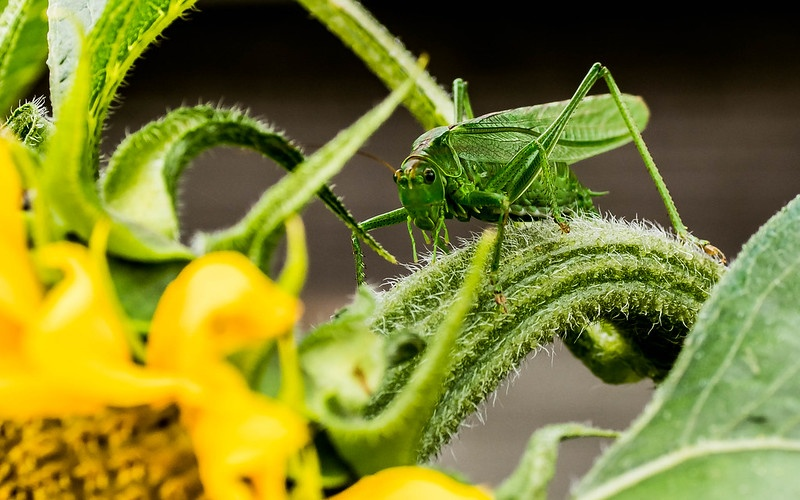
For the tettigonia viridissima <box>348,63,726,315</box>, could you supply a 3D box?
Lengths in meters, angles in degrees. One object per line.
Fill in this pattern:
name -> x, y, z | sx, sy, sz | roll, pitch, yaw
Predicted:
tettigonia viridissima -> 0.196, -0.096, 1.379 | 0.344, 0.174, 0.322 | -12, 4, -42
